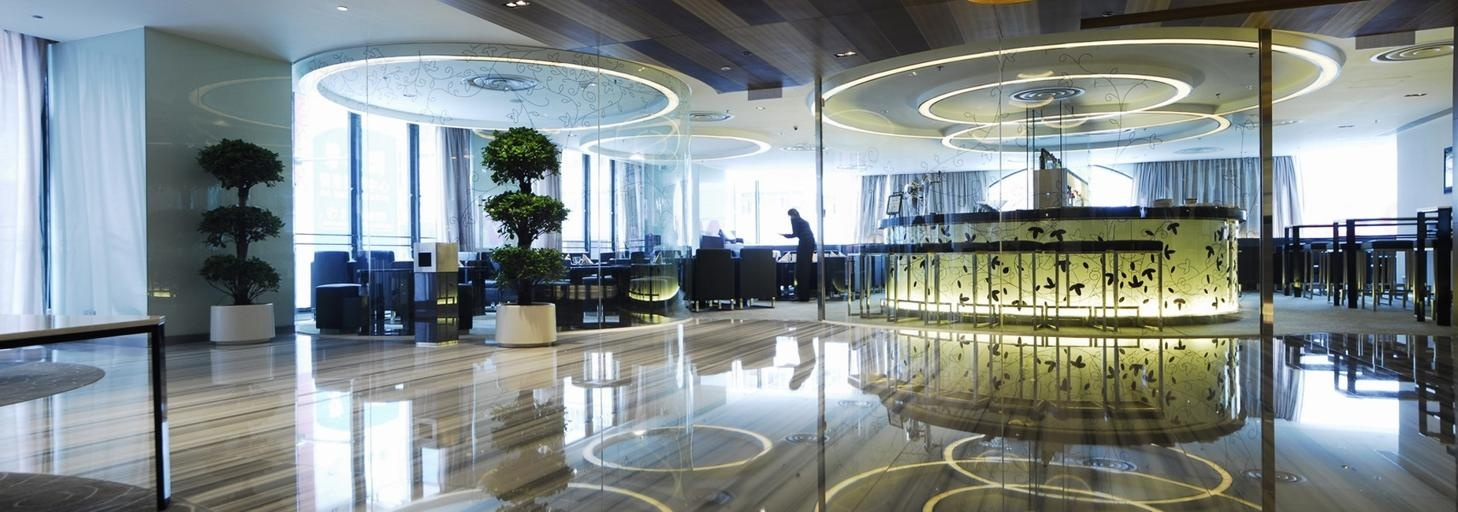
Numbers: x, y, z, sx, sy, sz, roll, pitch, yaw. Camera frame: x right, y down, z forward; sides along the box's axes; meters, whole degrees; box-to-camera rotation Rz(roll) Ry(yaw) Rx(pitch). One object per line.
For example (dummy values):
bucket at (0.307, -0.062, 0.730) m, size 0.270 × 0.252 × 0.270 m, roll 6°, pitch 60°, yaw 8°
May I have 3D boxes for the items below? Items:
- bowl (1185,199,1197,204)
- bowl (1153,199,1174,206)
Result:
bowl at (9.820, -1.169, 15.341) m, size 0.249 × 0.094 × 0.152 m, roll -1°, pitch -3°, yaw 9°
bowl at (9.171, -1.136, 15.310) m, size 0.427 × 0.115 × 0.049 m, roll -3°, pitch 1°, yaw -5°
